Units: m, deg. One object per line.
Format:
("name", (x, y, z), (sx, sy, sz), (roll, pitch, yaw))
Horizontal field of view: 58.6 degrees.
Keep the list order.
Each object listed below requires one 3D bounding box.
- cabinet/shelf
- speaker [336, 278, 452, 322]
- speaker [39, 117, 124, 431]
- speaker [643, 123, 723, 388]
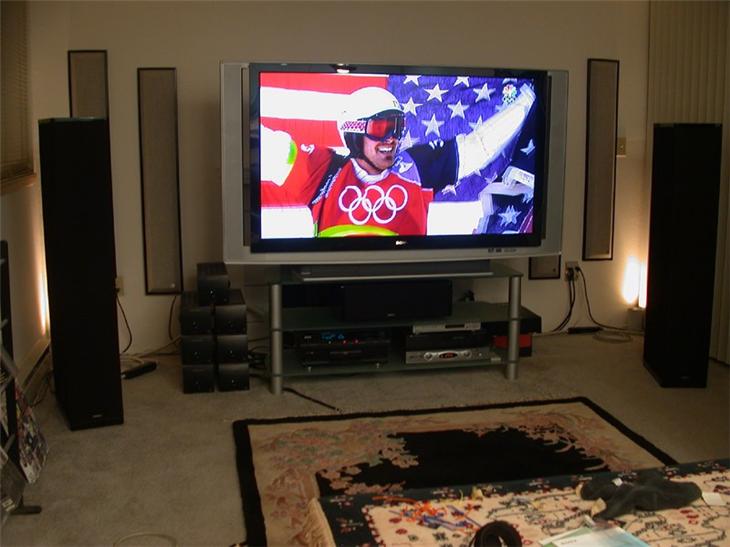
("cabinet/shelf", (0.185, 0.298, 4.184), (1.591, 0.749, 0.418), (-1, 12, -9))
("speaker", (0.198, 0.198, 4.202), (0.761, 0.281, 0.227), (-2, -6, 16))
("speaker", (-1.526, -0.196, 3.494), (0.337, 1.216, 0.232), (-3, -1, -41))
("speaker", (1.986, -0.108, 4.047), (0.433, 1.601, 0.362), (3, 12, 11))
